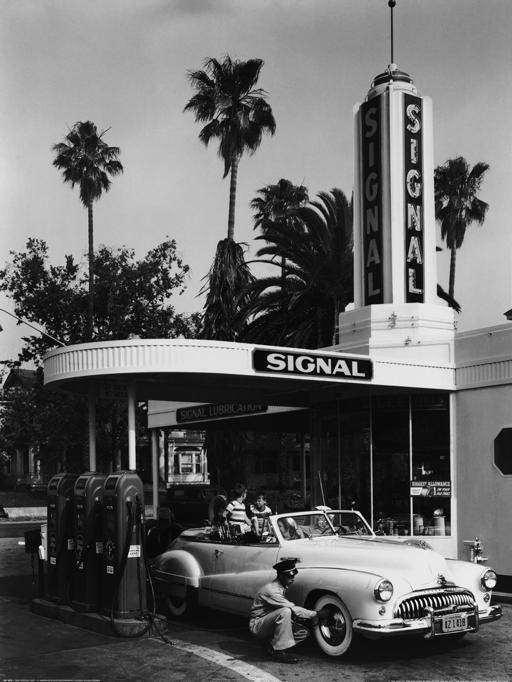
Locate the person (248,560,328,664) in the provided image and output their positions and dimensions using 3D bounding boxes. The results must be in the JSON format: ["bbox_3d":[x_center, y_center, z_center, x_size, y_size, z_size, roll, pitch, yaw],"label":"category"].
[{"bbox_3d":[0.413,3.114,11.541,0.801,1.433,0.856,-3,-15,12],"label":"person"}]

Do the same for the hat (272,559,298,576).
[{"bbox_3d":[0.303,2.516,11.209,0.169,0.148,0.197,12,-17,-40],"label":"hat"}]

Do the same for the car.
[{"bbox_3d":[0.689,2.812,12.100,1.720,1.532,3.703,8,-13,-37],"label":"car"}]
